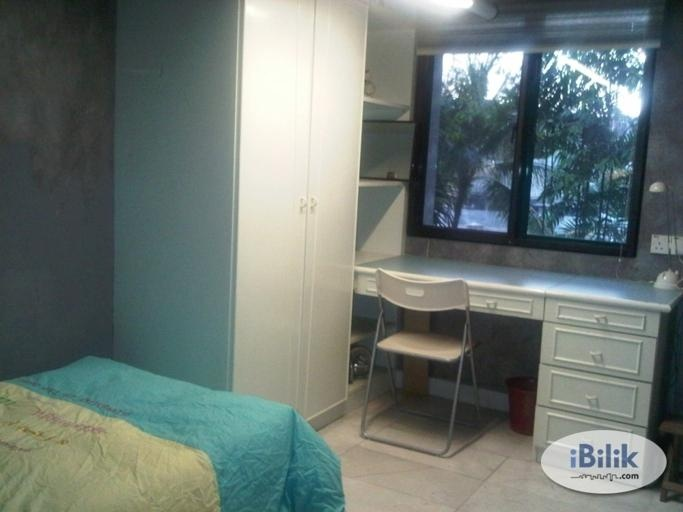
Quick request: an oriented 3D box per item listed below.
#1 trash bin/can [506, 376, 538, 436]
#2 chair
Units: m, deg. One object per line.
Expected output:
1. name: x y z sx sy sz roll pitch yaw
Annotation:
1. trash bin/can: 1.083 0.920 3.568 0.250 0.362 0.301 1 3 6
2. chair: 0.588 0.696 3.570 0.729 1.212 0.670 5 19 25
